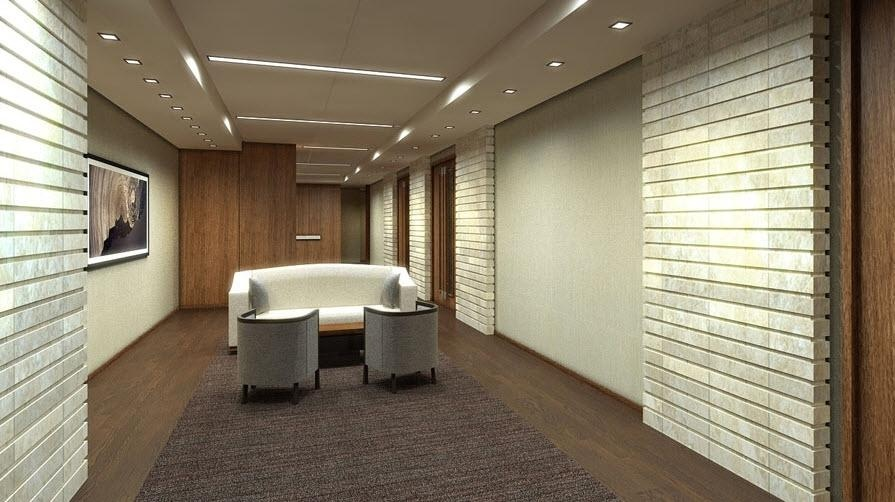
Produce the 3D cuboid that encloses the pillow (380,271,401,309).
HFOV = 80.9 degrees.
[{"bbox_3d":[-0.834,0.578,7.558,0.187,0.472,0.496,11,-2,-21],"label":"pillow"}]

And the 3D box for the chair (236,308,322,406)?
[{"bbox_3d":[-2.037,1.258,6.239,0.867,0.954,1.210,-1,-2,0],"label":"chair"}]

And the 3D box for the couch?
[{"bbox_3d":[-1.734,0.799,7.494,2.553,1.037,0.956,-1,2,-15],"label":"couch"}]

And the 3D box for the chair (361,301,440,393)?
[{"bbox_3d":[-0.522,1.120,6.362,0.772,0.849,0.700,0,0,-39],"label":"chair"}]

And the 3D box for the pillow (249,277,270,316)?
[{"bbox_3d":[-2.579,0.620,7.082,0.187,0.512,0.467,-9,-7,27],"label":"pillow"}]
